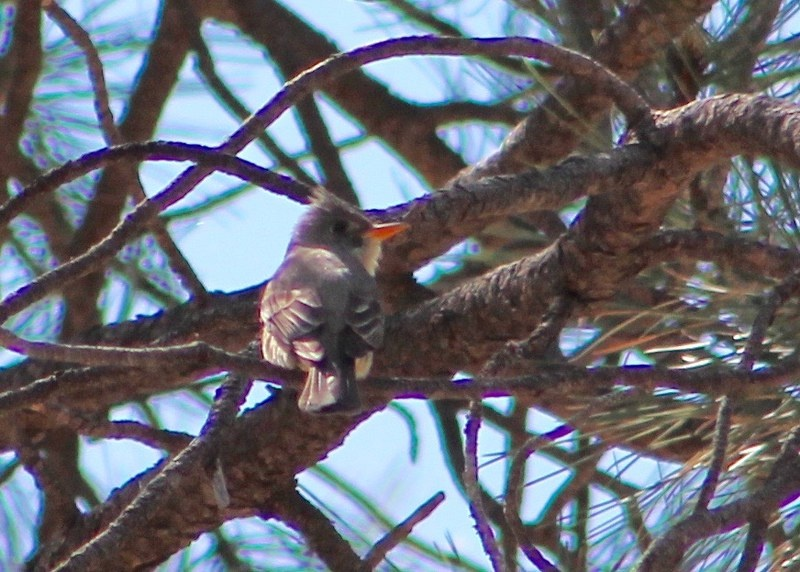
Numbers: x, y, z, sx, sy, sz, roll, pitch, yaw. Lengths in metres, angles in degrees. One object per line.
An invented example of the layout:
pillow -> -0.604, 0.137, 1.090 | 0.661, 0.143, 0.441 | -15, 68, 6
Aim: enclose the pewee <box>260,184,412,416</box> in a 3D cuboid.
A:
pewee -> -0.213, 0.104, 5.168 | 0.440, 0.857, 0.689 | 2, -62, -2
